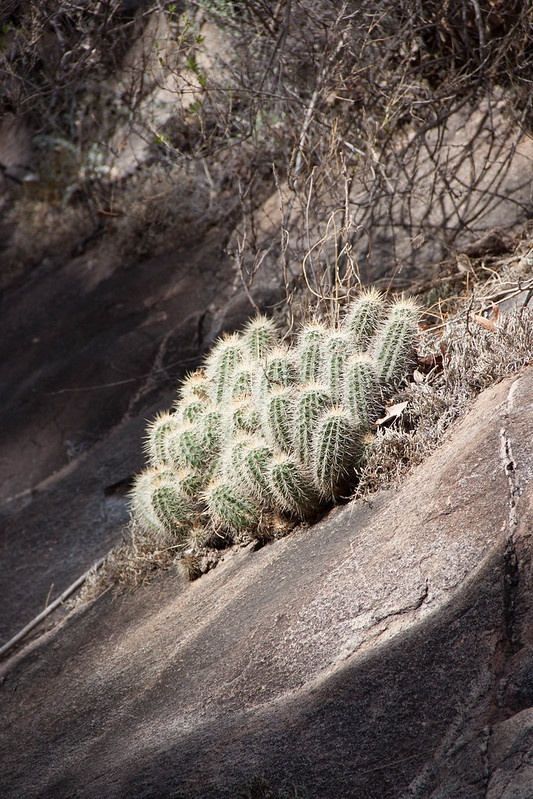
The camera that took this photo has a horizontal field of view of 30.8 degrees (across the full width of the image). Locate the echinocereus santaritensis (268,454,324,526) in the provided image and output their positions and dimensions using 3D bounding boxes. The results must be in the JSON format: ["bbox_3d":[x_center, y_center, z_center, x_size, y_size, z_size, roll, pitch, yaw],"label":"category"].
[{"bbox_3d":[0.123,0.352,3.850,0.192,0.272,0.178,-35,-2,9],"label":"echinocereus santaritensis"}]

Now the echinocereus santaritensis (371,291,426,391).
[{"bbox_3d":[0.559,-0.221,4.189,0.168,0.329,0.343,4,23,35],"label":"echinocereus santaritensis"}]

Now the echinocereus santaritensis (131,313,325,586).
[{"bbox_3d":[-0.092,0.246,4.303,0.842,1.020,0.666,29,-7,-39],"label":"echinocereus santaritensis"}]

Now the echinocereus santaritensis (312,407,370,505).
[{"bbox_3d":[0.292,0.226,3.866,0.275,0.347,0.165,-15,20,-15],"label":"echinocereus santaritensis"}]
